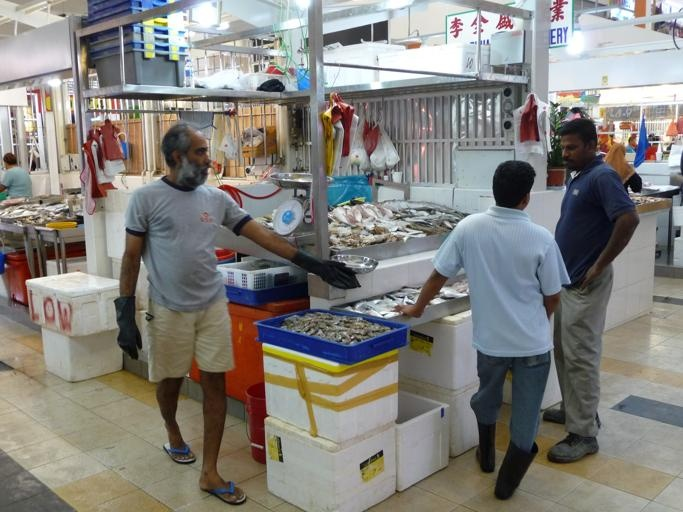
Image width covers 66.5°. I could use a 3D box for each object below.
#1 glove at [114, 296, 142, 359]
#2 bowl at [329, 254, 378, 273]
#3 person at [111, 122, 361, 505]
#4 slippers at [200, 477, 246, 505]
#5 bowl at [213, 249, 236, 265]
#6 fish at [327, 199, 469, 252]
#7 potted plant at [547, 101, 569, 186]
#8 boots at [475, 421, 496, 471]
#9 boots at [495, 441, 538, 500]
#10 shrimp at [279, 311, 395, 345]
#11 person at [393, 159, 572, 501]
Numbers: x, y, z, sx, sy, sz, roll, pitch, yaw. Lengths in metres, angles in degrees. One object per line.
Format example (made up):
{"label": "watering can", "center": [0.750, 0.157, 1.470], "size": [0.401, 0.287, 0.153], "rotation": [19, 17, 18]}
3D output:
{"label": "glove", "center": [-1.349, 0.447, 3.289], "size": [0.127, 0.414, 0.223], "rotation": [-7, 13, -24]}
{"label": "bowl", "center": [0.091, 0.040, 3.559], "size": [0.192, 0.039, 0.161], "rotation": [1, 23, -25]}
{"label": "person", "center": [-0.834, 0.205, 3.379], "size": [1.275, 2.576, 1.052], "rotation": [-4, 15, -30]}
{"label": "slippers", "center": [-0.725, 1.446, 3.230], "size": [0.233, 0.053, 0.115], "rotation": [7, 8, 31]}
{"label": "bowl", "center": [-1.156, -0.004, 5.139], "size": [0.224, 0.116, 0.278], "rotation": [-3, 0, -27]}
{"label": "fish", "center": [0.435, -0.243, 4.286], "size": [0.958, 0.279, 0.754], "rotation": [-11, 18, -43]}
{"label": "potted plant", "center": [2.078, -1.047, 5.090], "size": [0.146, 0.954, 0.288], "rotation": [2, 14, 3]}
{"label": "boots", "center": [0.960, 1.243, 3.495], "size": [0.141, 0.302, 0.333], "rotation": [-1, -2, 8]}
{"label": "boots", "center": [1.058, 1.313, 3.158], "size": [0.143, 0.276, 0.396], "rotation": [23, 49, 33]}
{"label": "shrimp", "center": [-0.073, 0.420, 3.135], "size": [0.669, 0.055, 0.439], "rotation": [7, 14, 35]}
{"label": "person", "center": [0.905, 0.456, 3.113], "size": [0.729, 2.008, 0.346], "rotation": [5, 14, 30]}
